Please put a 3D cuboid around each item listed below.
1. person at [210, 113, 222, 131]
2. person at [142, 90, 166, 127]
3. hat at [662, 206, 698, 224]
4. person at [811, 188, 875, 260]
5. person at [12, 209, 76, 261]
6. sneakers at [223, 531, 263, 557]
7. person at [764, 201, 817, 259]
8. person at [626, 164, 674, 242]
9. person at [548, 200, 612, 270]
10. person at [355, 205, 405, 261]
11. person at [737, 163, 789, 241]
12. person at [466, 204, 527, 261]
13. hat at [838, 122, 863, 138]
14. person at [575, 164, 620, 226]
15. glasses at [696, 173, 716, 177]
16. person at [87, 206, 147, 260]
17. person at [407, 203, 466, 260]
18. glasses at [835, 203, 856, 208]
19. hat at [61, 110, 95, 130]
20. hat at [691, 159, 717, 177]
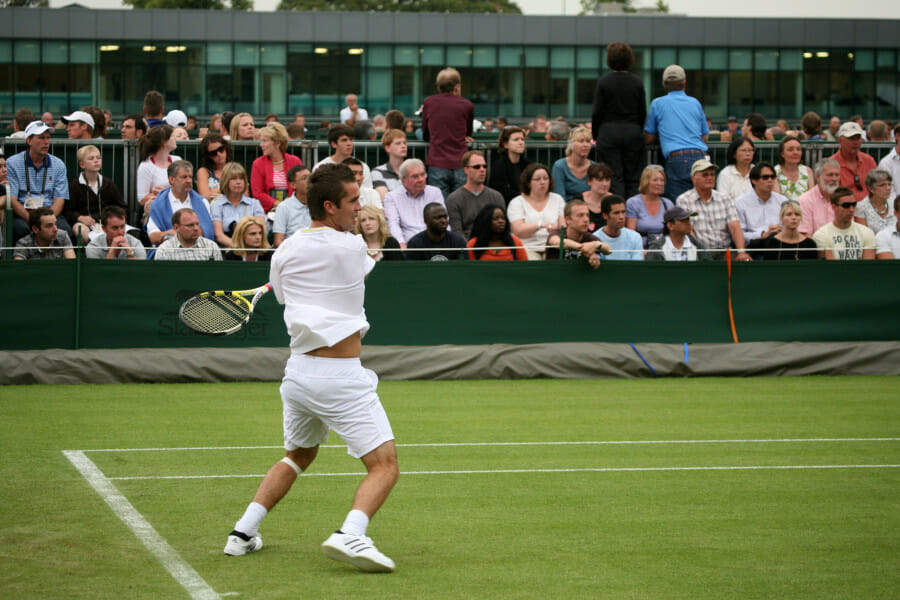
[{"bbox_3d":[-4.798,-3.648,36.134,0.242,0.343,0.760,-1,4,-8],"label":"person"},{"bbox_3d":[-5.770,-3.766,34.453,0.369,0.763,1.585,-1,4,-9],"label":"person"},{"bbox_3d":[4.180,-1.545,31.794,0.480,0.304,0.232,0,4,8],"label":"hat"},{"bbox_3d":[7.296,-1.427,32.096,1.147,1.278,0.475,0,4,6],"label":"person"},{"bbox_3d":[-7.183,-1.180,31.037,0.808,0.821,1.022,-5,10,-38],"label":"person"},{"bbox_3d":[-2.960,3.447,24.976,0.242,0.270,0.607,5,5,39],"label":"sneakers"},{"bbox_3d":[6.293,-1.254,32.185,0.905,1.644,0.622,1,-21,3],"label":"person"},{"bbox_3d":[3.809,-1.785,32.521,0.980,1.447,0.821,0,11,-19],"label":"person"},{"bbox_3d":[2.430,-1.151,31.905,1.127,1.414,1.537,-5,9,-12],"label":"person"},{"bbox_3d":[-1.323,-1.147,31.676,0.909,1.220,0.583,-2,7,16],"label":"person"},{"bbox_3d":[5.845,-1.798,32.673,1.455,1.264,0.791,-3,4,-24],"label":"person"},{"bbox_3d":[0.874,-1.242,31.702,1.040,0.969,0.514,0,4,1],"label":"person"},{"bbox_3d":[7.830,-3.306,33.966,0.435,0.277,0.528,0,4,9],"label":"hat"},{"bbox_3d":[2.825,-1.894,32.722,0.809,1.209,0.663,10,-15,-32],"label":"person"},{"bbox_3d":[4.754,-2.326,32.256,0.324,0.081,0.092,-1,4,-13],"label":"glasses"},{"bbox_3d":[-5.926,-1.185,31.235,0.786,0.804,1.076,-2,2,-24],"label":"person"},{"bbox_3d":[-0.174,-1.224,31.778,1.033,0.980,0.557,-1,-4,-17],"label":"person"},{"bbox_3d":[7.359,-1.751,32.025,0.172,0.082,0.427,3,5,38],"label":"glasses"},{"bbox_3d":[-7.074,-3.486,33.656,0.471,0.226,0.325,9,-4,-19],"label":"hat"},{"bbox_3d":[4.692,-2.442,32.321,0.277,0.196,0.378,-1,-7,-25],"label":"hat"}]
